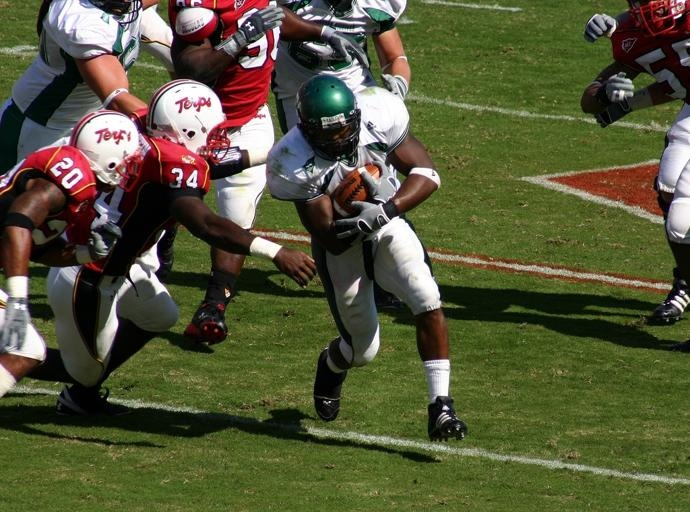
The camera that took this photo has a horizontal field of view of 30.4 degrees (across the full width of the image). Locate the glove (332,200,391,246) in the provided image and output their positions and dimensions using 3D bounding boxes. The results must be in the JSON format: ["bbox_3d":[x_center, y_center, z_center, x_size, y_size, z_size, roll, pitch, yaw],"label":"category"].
[{"bbox_3d":[0.094,-0.192,7.414,0.311,0.250,0.200,6,17,-3],"label":"glove"}]

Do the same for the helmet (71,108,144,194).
[{"bbox_3d":[-1.336,-0.634,7.289,0.483,0.414,0.352,-26,19,-3],"label":"helmet"}]

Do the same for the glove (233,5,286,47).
[{"bbox_3d":[-0.576,-1.537,8.454,0.390,0.181,0.103,-30,1,-33],"label":"glove"}]

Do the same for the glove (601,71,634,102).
[{"bbox_3d":[1.866,-1.163,8.807,0.234,0.156,0.117,-6,9,21],"label":"glove"}]

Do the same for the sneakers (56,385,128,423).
[{"bbox_3d":[-1.451,0.892,7.615,0.506,0.200,0.170,1,19,-4],"label":"sneakers"}]

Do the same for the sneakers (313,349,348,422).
[{"bbox_3d":[-0.094,0.807,7.785,0.169,0.403,0.184,1,6,-10],"label":"sneakers"}]

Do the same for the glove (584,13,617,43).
[{"bbox_3d":[1.764,-1.601,8.987,0.192,0.106,0.227,-20,12,-8],"label":"glove"}]

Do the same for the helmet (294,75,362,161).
[{"bbox_3d":[-0.088,-0.814,7.509,0.383,0.390,0.474,-20,63,-8],"label":"helmet"}]

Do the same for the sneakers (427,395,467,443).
[{"bbox_3d":[0.570,0.970,7.354,0.161,0.270,0.253,-1,18,-27],"label":"sneakers"}]

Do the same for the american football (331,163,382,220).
[{"bbox_3d":[0.049,-0.365,7.503,0.336,0.203,0.213,-45,7,-9],"label":"american football"}]
